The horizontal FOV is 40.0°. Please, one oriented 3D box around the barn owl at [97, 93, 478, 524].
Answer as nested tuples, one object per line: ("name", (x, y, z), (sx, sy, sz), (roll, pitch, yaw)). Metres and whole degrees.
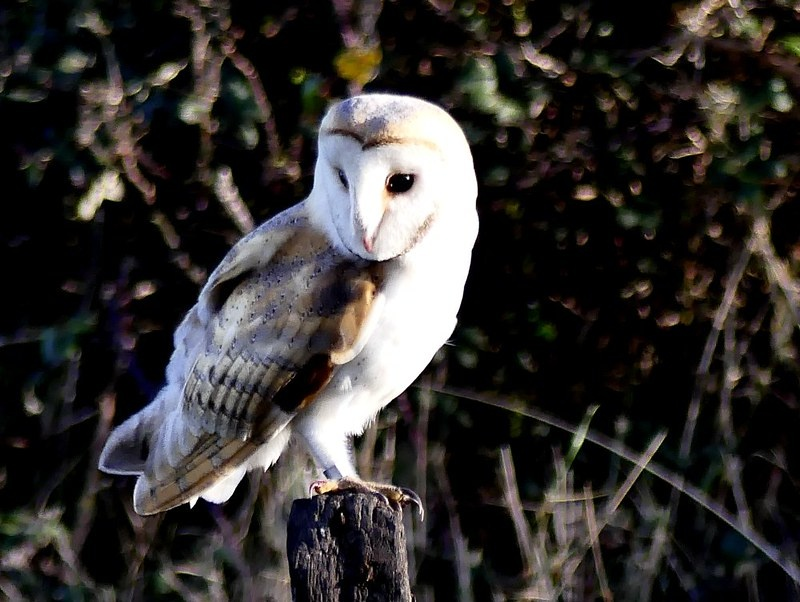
("barn owl", (-0.291, 0.112, 3.783), (0.829, 1.284, 1.265), (27, -31, -11))
